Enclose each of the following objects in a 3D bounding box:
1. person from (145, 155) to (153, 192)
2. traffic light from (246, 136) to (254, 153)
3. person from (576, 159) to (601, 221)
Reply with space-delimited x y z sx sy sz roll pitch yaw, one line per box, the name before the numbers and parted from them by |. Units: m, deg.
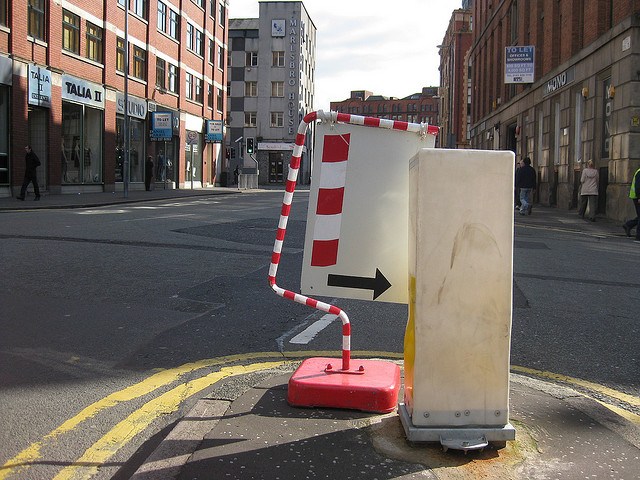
person | -10.664 -4.184 35.597 0.470 2.152 1.461 -1 7 -17
traffic light | -5.342 -7.224 43.528 0.422 1.093 0.928 1 7 -4
person | 9.409 -1.751 20.027 0.563 2.025 1.135 4 7 25
